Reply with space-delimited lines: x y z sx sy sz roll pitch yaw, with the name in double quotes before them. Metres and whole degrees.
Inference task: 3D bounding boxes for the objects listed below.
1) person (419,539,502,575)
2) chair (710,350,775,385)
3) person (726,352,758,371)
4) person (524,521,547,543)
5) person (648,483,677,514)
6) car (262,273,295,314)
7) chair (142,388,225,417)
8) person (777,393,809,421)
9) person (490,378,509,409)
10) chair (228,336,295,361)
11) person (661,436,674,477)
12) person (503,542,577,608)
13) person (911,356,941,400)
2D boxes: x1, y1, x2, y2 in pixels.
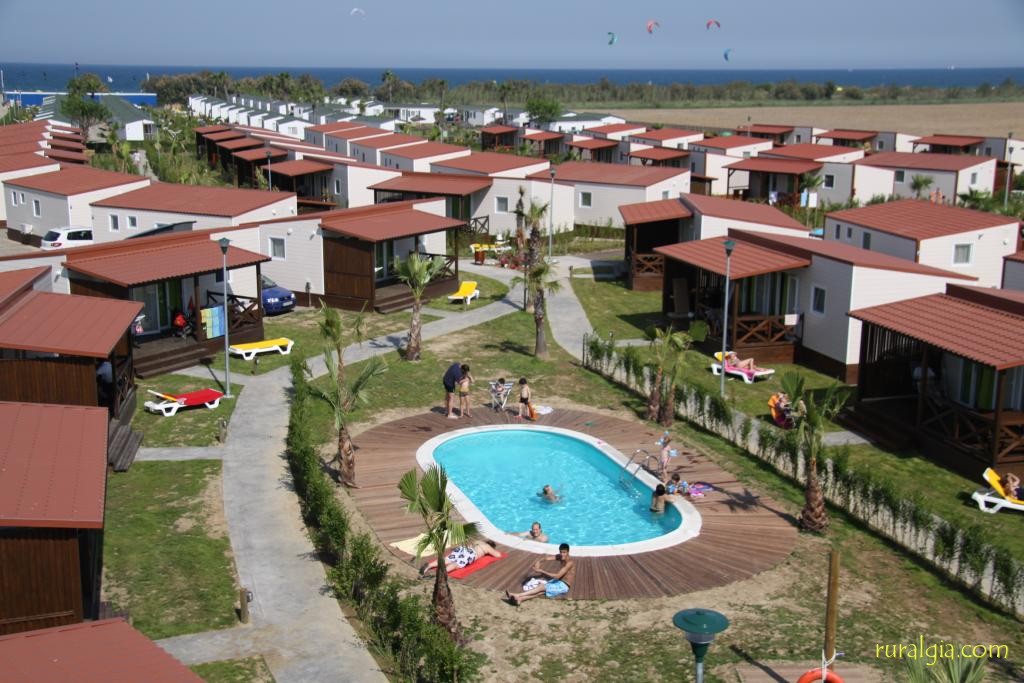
"person" -1.434 6.253 25.493 1.839 0.380 0.984 -10 25 -38
"chair" 10.169 1.114 39.276 2.572 1.033 1.578 18 24 35
"person" 10.283 0.887 39.453 0.841 0.405 1.139 -3 11 -13
"person" 0.768 5.886 26.906 0.875 0.867 0.497 0 0 3
"person" 4.924 5.108 28.407 0.532 0.840 0.609 29 48 29
"car" -12.714 -2.310 45.995 2.510 1.162 1.313 13 20 39
"chair" -12.788 2.258 33.959 2.494 0.761 1.153 -9 21 -31
"person" 10.306 2.188 31.756 0.622 1.242 1.284 1 -5 26
"person" -0.483 2.043 34.866 0.746 1.154 1.113 -4 21 -4
"chair" -11.308 0.299 39.629 2.738 0.791 1.417 -13 23 -28
"person" 5.365 3.995 30.186 0.543 1.667 0.681 5 24 19
"person" 0.745 6.491 24.526 2.241 1.285 0.922 -7 13 -34
"person" 15.799 1.341 33.087 1.018 1.065 2.012 -2 4 1
